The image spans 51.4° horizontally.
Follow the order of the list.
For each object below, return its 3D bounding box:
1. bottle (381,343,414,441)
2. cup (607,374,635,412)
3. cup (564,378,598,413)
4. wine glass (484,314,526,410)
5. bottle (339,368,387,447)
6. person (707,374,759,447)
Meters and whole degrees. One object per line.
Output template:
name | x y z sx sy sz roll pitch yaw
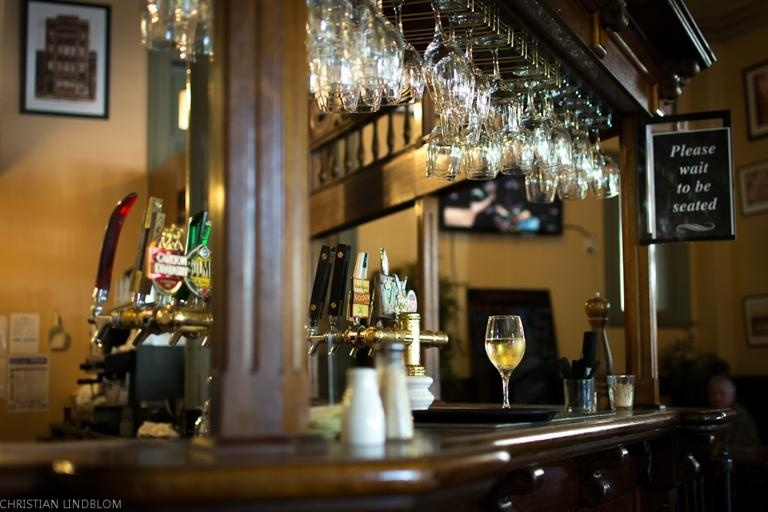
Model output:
bottle | 0.030 0.363 2.143 0.098 0.257 0.052 2 -8 -18
cup | 1.002 0.586 3.398 0.119 0.155 0.124 2 -8 0
cup | 0.775 0.556 3.160 0.123 0.140 0.117 1 -9 0
wine glass | 0.453 0.389 2.997 0.141 0.345 0.309 -3 -8 16
bottle | -0.081 0.415 2.198 0.152 0.263 0.167 0 -9 0
person | 2.755 1.212 6.283 0.327 0.544 1.642 -4 -9 25
